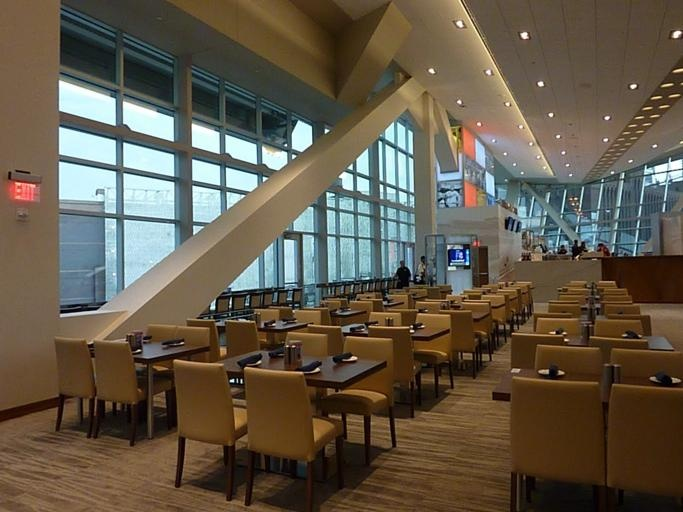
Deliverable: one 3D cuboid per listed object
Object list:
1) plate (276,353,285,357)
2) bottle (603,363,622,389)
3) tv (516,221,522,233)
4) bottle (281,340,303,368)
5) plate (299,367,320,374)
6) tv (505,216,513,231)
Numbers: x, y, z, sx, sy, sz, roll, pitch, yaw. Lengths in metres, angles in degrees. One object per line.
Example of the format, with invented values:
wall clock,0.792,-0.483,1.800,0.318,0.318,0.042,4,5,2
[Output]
plate,-0.616,0.994,4.957,0.073,0.019,0.071,0,-1,35
bottle,2.102,0.936,3.847,0.276,0.172,0.099,1,-3,-42
tv,8.437,-1.422,23.470,0.248,0.678,0.715,1,4,19
bottle,-0.447,0.935,4.686,0.175,0.327,0.186,-1,-2,0
plate,-0.271,1.019,4.367,0.104,0.024,0.092,0,-2,-20
tv,6.985,-1.385,20.651,0.148,0.334,0.651,5,2,30
